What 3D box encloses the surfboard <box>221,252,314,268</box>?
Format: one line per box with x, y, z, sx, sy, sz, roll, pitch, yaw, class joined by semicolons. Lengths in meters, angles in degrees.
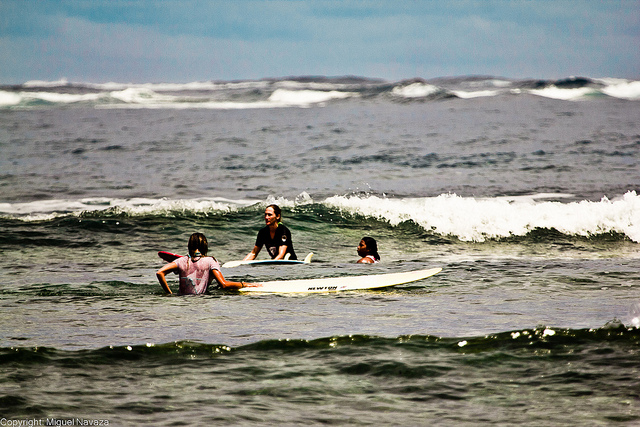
-2.037;1.805;40.125;3.336;0.573;0.886;-1;5;-2;surfboard

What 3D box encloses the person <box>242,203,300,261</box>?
-2.103;0.746;39.859;1.164;2.074;1.595;0;0;29;person
